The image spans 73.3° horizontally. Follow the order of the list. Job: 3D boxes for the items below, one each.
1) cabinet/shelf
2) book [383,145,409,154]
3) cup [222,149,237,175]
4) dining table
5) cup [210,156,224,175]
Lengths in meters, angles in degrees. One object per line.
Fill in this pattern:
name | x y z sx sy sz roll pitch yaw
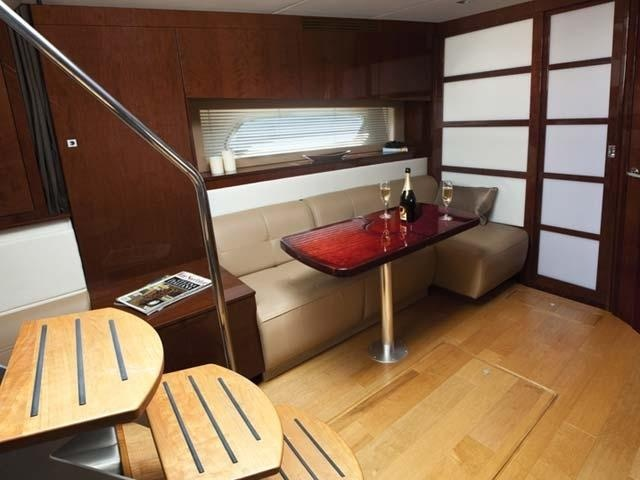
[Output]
cabinet/shelf | -0.834 0.590 2.604 0.807 0.683 0.691 -19 24 -31
book | 0.724 -0.887 4.183 0.242 0.052 0.152 -2 21 11
cup | -0.680 -0.579 3.187 0.095 0.167 0.219 -10 21 -9
dining table | 0.446 0.369 2.940 1.384 0.954 0.742 -19 23 -37
cup | -0.767 -0.571 3.197 0.130 0.150 0.131 1 17 0
